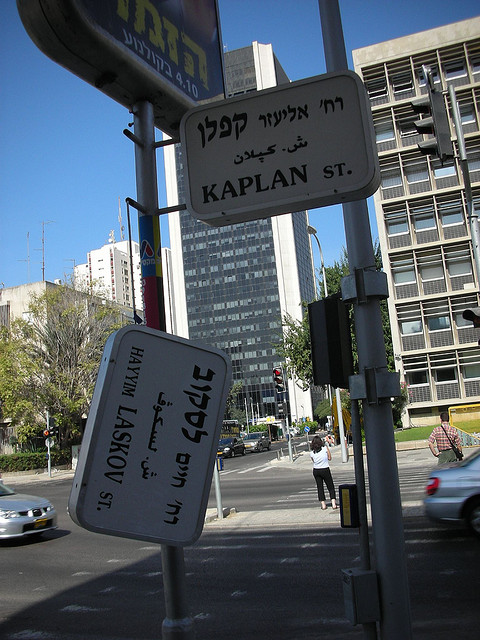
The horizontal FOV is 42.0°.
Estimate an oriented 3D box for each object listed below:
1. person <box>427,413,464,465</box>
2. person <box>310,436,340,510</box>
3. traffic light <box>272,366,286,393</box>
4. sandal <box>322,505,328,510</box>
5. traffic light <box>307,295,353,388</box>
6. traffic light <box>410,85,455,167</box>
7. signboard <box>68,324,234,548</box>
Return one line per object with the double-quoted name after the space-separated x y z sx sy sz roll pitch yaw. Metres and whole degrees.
4.517 2.884 13.755 0.638 1.832 0.475 -1 15 25 "person"
1.869 3.370 13.989 0.482 1.569 1.679 -4 -6 6 "person"
1.844 2.608 27.023 0.293 1.140 0.733 -10 5 -27 "traffic light"
1.790 3.966 13.230 0.136 0.056 0.106 -5 -5 -4 "sandal"
0.518 0.125 3.594 0.224 0.529 0.247 -4 -6 7 "traffic light"
2.212 -2.271 7.250 0.333 0.961 0.254 -5 -14 2 "traffic light"
-0.233 0.344 1.801 0.556 0.676 0.192 0 -7 -38 "signboard"
